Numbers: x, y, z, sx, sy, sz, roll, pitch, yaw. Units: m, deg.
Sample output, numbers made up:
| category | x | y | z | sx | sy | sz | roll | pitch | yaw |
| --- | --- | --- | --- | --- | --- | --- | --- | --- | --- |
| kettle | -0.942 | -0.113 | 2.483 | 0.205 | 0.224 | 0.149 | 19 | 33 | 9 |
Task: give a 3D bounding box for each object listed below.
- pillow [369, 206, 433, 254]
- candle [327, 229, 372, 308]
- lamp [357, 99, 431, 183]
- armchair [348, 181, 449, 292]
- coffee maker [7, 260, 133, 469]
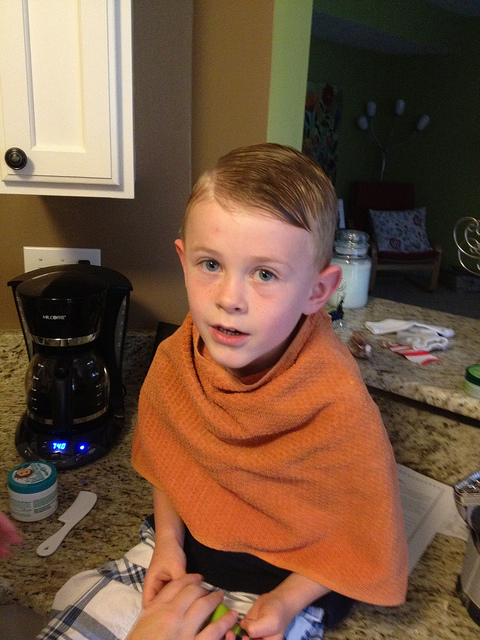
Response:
| category | x | y | z | sx | sy | sz | roll | pitch | yaw |
| --- | --- | --- | --- | --- | --- | --- | --- | --- | --- |
| pillow | 1.486 | -0.856 | 4.595 | 0.524 | 0.142 | 0.515 | -2 | 69 | -24 |
| candle | 0.269 | -0.121 | 1.194 | 0.106 | 0.187 | 0.328 | 9 | 25 | 12 |
| lamp | 1.610 | -1.965 | 5.376 | 0.939 | 0.870 | 0.404 | -5 | 26 | -19 |
| armchair | 1.494 | -0.914 | 5.099 | 0.703 | 0.968 | 1.000 | 0 | 23 | 15 |
| coffee maker | -0.324 | 0.084 | 1.008 | 0.297 | 0.362 | 0.254 | -12 | 20 | -33 |
